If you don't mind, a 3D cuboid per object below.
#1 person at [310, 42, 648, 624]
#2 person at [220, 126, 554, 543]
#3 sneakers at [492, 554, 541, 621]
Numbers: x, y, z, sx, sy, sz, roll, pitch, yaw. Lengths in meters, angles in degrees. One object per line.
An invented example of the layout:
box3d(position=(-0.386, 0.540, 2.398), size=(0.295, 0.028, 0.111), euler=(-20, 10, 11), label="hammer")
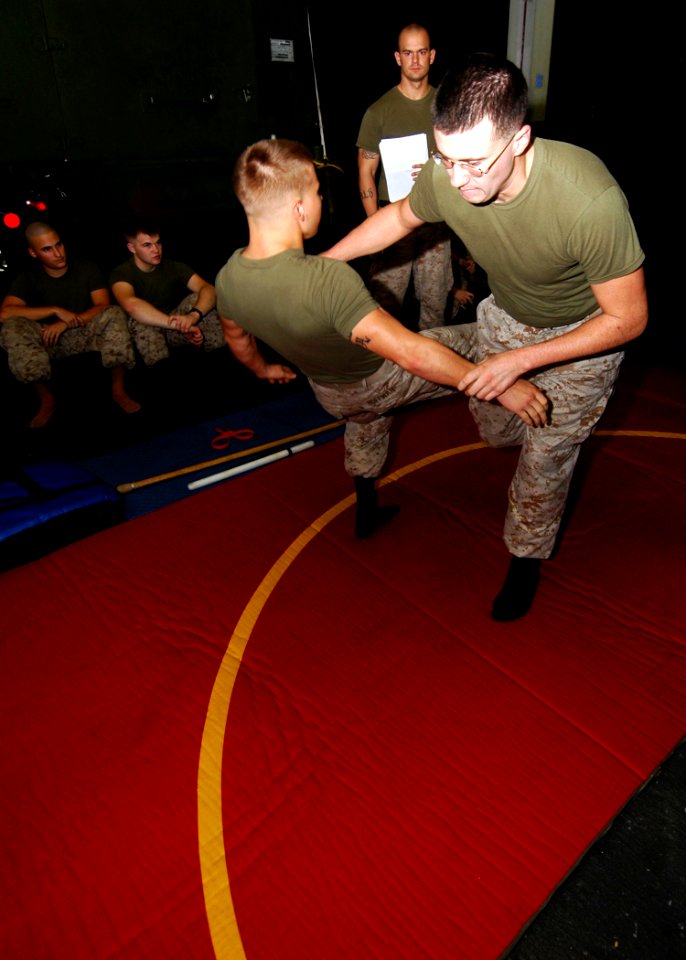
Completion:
box3d(position=(0.558, -0.432, 2.404), size=(0.666, 1.854, 0.926), euler=(-19, 41, -20), label="person")
box3d(position=(0.132, -0.464, 2.653), size=(1.294, 1.615, 0.892), euler=(9, 41, 32), label="person")
box3d(position=(0.689, 0.400, 2.627), size=(0.108, 0.133, 0.354), euler=(6, 25, 31), label="sneakers")
